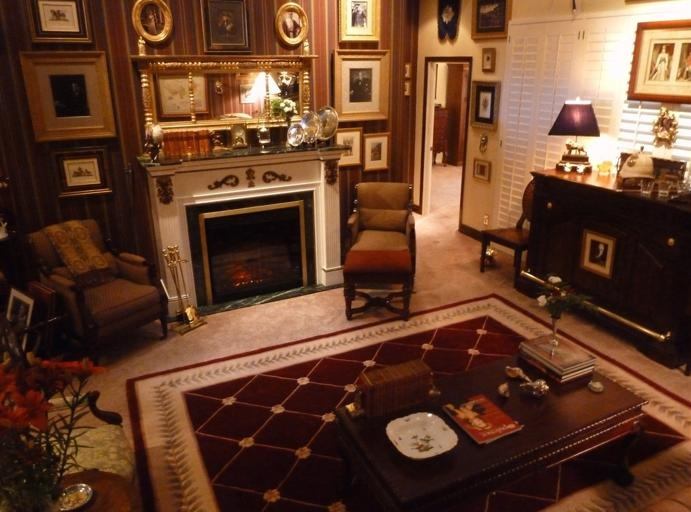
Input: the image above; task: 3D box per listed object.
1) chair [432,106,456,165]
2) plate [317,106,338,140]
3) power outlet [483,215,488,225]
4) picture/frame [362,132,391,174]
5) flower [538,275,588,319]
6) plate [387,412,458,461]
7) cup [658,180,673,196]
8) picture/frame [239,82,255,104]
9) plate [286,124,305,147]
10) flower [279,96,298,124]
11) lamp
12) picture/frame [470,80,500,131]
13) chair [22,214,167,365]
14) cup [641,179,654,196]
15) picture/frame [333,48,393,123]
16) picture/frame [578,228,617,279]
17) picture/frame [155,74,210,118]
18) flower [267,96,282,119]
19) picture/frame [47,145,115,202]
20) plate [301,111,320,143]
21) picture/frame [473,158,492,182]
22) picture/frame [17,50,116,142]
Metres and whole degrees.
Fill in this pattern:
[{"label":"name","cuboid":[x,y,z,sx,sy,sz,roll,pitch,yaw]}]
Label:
[{"label":"chair","cuboid":[2.289,-2.862,12.207,0.446,1.321,0.415,-1,21,6]},{"label":"plate","cuboid":[-0.199,-1.621,6.300,0.206,0.338,0.332,-1,-11,-26]},{"label":"power outlet","cuboid":[2.024,-0.539,7.487,0.016,0.161,0.118,-6,15,-21]},{"label":"picture/frame","cuboid":[0.414,-1.467,7.172,0.516,0.600,0.044,-11,22,-30]},{"label":"flower","cuboid":[1.985,0.363,4.679,0.402,0.283,0.392,-19,27,-40]},{"label":"plate","cuboid":[0.496,1.185,3.419,0.417,0.083,0.345,-11,23,-20]},{"label":"cup","cuboid":[2.968,-0.634,4.794,0.139,0.125,0.152,-1,8,0]},{"label":"picture/frame","cuboid":[-1.158,-1.925,6.038,0.220,0.244,0.025,-12,24,-35]},{"label":"plate","cuboid":[-0.572,-1.411,6.036,0.277,0.305,0.127,-1,11,-3]},{"label":"flower","cuboid":[-0.678,-1.773,6.296,0.261,0.316,0.129,-13,23,-24]},{"label":"lamp","cuboid":[2.552,-1.337,5.673,0.449,0.767,0.581,14,27,37]},{"label":"picture/frame","cuboid":[1.938,-2.103,7.121,0.056,0.709,0.651,-11,22,-23]},{"label":"chair","cuboid":[-2.409,0.190,5.691,1.473,1.602,1.188,19,31,35]},{"label":"cup","cuboid":[2.832,-0.648,4.858,0.126,0.154,0.126,-2,15,0]},{"label":"picture/frame","cuboid":[0.200,-2.279,6.785,1.090,1.080,0.120,-10,26,-28]},{"label":"picture/frame","cuboid":[2.576,-0.038,5.267,0.031,0.464,0.410,-12,24,-22]},{"label":"picture/frame","cuboid":[-1.833,-1.806,5.755,0.488,0.406,0.049,-6,14,-23]},{"label":"flower","cuboid":[-0.856,-1.789,6.176,0.217,0.223,0.222,13,20,41]},{"label":"picture/frame","cuboid":[-2.865,-0.918,5.560,0.578,0.576,0.047,-8,17,-23]},{"label":"plate","cuboid":[-0.407,-1.527,6.143,0.269,0.348,0.187,-11,23,-19]},{"label":"picture/frame","cuboid":[1.956,-1.249,7.373,0.023,0.279,0.321,-9,21,-20]},{"label":"picture/frame","cuboid":[-2.907,-1.689,5.329,0.888,0.918,0.072,-10,20,-22]}]
